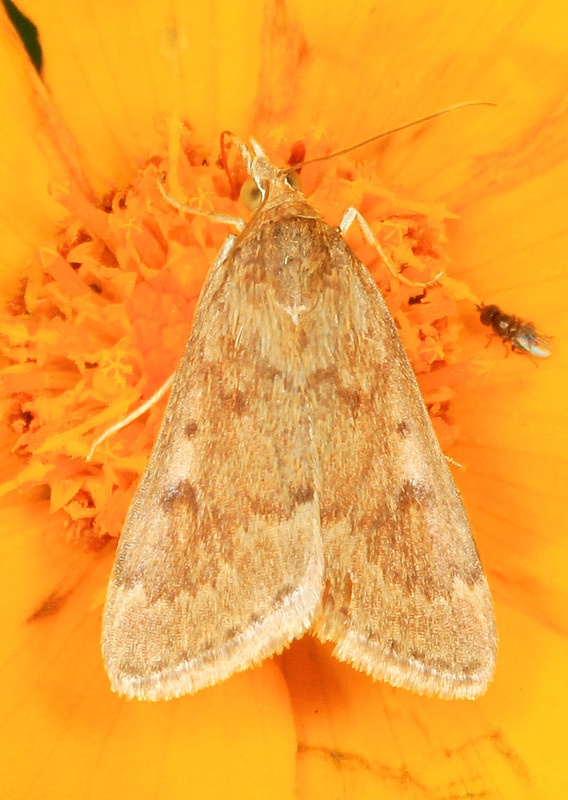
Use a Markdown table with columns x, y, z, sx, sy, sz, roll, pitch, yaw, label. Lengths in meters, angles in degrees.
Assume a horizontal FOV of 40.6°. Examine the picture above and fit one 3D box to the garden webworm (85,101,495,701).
| x | y | z | sx | sy | sz | roll | pitch | yaw | label |
| --- | --- | --- | --- | --- | --- | --- | --- | --- | --- |
| 0.033 | 0.046 | 0.935 | 0.476 | 0.160 | 0.600 | 2 | 70 | -5 | garden webworm |
